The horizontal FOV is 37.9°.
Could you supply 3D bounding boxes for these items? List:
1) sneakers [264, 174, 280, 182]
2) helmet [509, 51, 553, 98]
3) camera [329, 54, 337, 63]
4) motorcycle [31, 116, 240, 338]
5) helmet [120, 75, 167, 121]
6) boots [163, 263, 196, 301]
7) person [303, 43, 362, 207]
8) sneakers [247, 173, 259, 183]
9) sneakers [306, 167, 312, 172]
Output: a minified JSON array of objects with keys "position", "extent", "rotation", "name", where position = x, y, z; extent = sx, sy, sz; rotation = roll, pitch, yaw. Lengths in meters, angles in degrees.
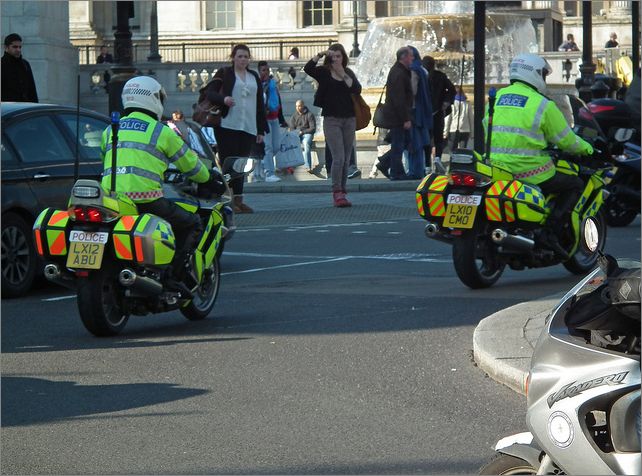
[{"position":[-1.068,-1.269,20.122],"extent":[0.280,0.198,0.150],"rotation":[-2,30,-3],"name":"sneakers"},{"position":[2.123,-1.680,9.533],"extent":[0.413,0.446,0.325],"rotation":[-13,15,-31],"name":"helmet"},{"position":[0.189,-2.798,14.695],"extent":[0.082,0.150,0.060],"rotation":[4,10,19],"name":"camera"},{"position":[-1.518,-0.116,7.840],"extent":[0.884,1.853,1.564],"rotation":[5,9,37],"name":"motorcycle"},{"position":[-1.472,-1.203,8.033],"extent":[0.310,0.390,0.373],"rotation":[9,15,36],"name":"helmet"},{"position":[-1.193,0.372,7.861],"extent":[0.138,0.199,0.335],"rotation":[-19,-31,29],"name":"boots"},{"position":[0.226,-1.761,15.029],"extent":[0.880,2.663,0.650],"rotation":[-7,9,-42],"name":"person"},{"position":[-1.481,-1.284,20.388],"extent":[0.209,0.227,0.367],"rotation":[-1,-7,2],"name":"sneakers"},{"position":[-0.309,-1.674,23.024],"extent":[0.100,0.098,0.197],"rotation":[2,10,5],"name":"sneakers"}]
